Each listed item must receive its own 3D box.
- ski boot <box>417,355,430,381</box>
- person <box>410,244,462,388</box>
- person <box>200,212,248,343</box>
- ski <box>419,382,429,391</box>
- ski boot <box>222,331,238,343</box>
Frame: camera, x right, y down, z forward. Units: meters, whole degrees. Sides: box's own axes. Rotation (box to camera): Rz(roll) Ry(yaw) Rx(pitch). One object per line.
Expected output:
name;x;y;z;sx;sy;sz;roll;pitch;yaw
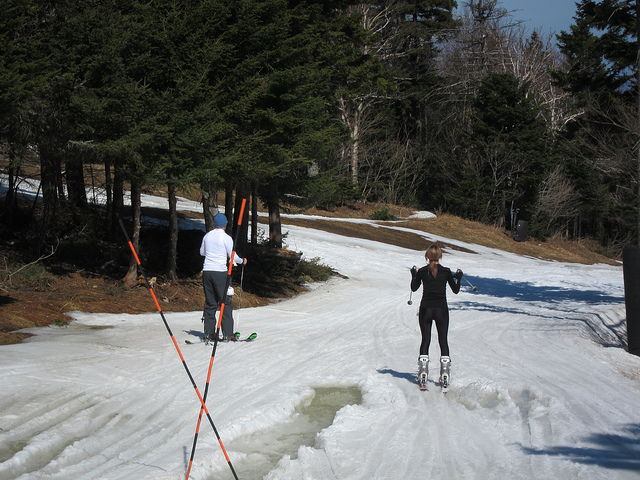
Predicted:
ski boot;1.802;2.199;10.212;0.153;0.435;0.152;4;7;6
person;2.023;1.347;10.404;0.865;2.426;0.795;4;7;9
person;-2.155;0.832;12.509;0.796;2.699;1.358;1;7;-11
ski;1.807;2.520;10.204;0.127;0.142;0.040;-1;-6;6
ski boot;-1.962;2.072;12.698;0.149;0.189;0.325;0;6;4
